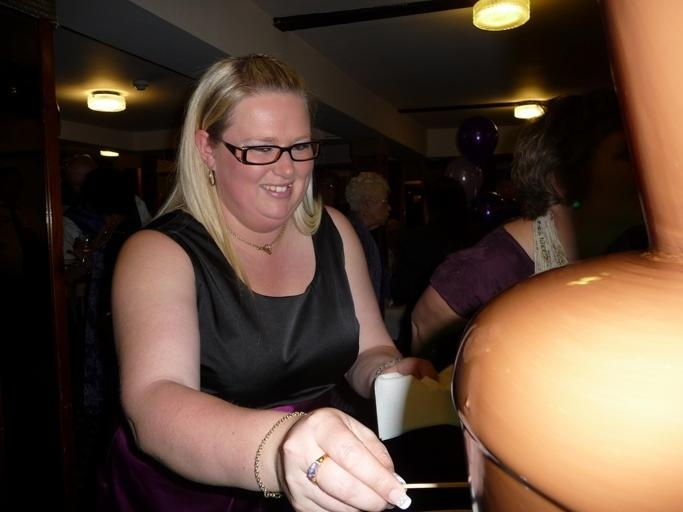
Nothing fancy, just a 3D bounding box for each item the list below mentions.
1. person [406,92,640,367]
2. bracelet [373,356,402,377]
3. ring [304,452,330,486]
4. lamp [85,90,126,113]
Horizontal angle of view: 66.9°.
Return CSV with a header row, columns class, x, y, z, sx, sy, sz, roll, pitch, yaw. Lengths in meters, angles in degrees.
class,x,y,z,sx,sy,sz,roll,pitch,yaw
person,0.523,-0.044,1.512,0.615,0.816,0.323,11,11,42
bracelet,0.105,0.261,1.213,0.081,0.021,0.018,-31,33,-14
ring,-0.029,0.240,0.586,0.025,0.033,0.011,30,-4,-19
lamp,-2.839,-1.864,6.186,0.291,0.125,0.315,-2,-1,-16
